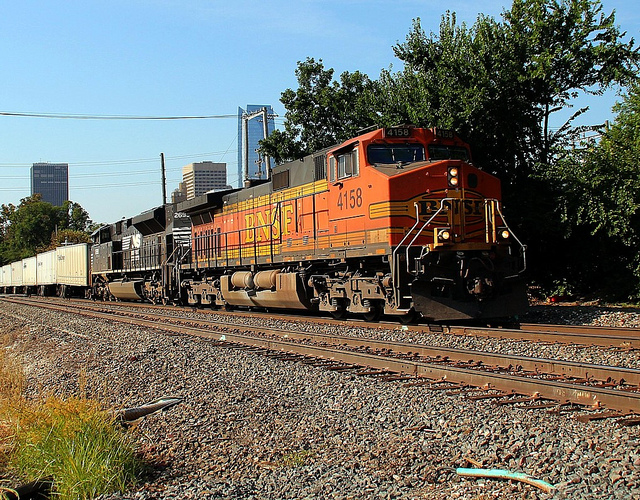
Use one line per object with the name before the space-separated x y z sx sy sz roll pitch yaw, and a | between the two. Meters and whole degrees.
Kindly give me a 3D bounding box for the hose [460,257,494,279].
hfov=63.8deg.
hose | 2.800 0.318 9.465 0.506 0.262 0.373 -9 15 -14
